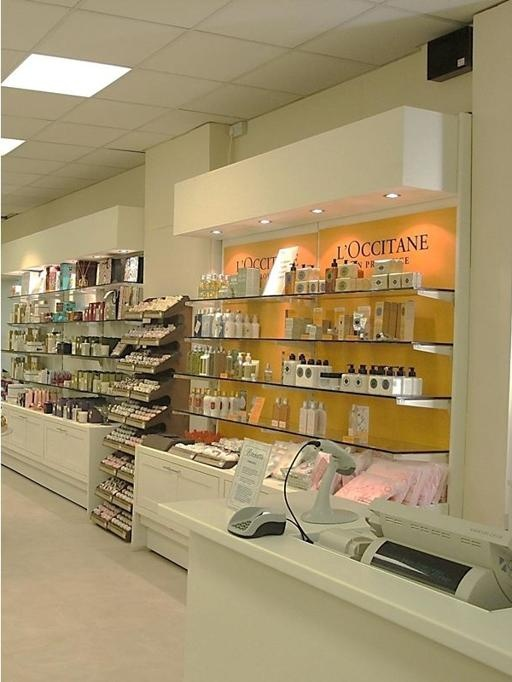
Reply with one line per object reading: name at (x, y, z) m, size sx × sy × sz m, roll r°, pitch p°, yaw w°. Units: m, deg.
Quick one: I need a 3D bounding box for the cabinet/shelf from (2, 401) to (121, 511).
cabinet/shelf at (-2.426, 1.464, 6.345) m, size 0.372 × 0.693 × 1.888 m, roll 8°, pitch -2°, yaw -39°
